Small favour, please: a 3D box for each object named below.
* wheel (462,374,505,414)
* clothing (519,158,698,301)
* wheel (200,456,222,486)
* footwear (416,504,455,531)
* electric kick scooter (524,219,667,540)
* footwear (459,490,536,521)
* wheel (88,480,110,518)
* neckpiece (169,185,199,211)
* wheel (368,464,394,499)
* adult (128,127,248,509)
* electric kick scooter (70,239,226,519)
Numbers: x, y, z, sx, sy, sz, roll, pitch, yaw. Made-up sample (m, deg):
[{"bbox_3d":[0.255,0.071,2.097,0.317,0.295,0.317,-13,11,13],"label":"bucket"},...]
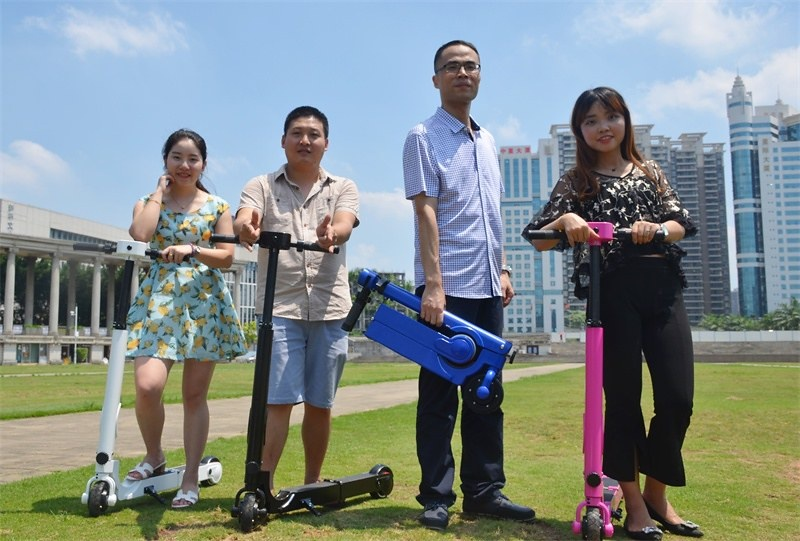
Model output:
[{"bbox_3d":[0.694,1.023,6.473,0.340,0.350,0.182,-2,-2,4],"label":"wheel"},{"bbox_3d":[1.904,-0.459,6.853,1.403,1.337,0.823,-3,-7,9],"label":"clothing"},{"bbox_3d":[-1.798,1.909,7.397,0.196,0.254,0.123,13,-11,-12],"label":"wheel"},{"bbox_3d":[0.284,2.022,6.378,0.234,0.170,0.164,-2,-2,0],"label":"footwear"},{"bbox_3d":[1.605,0.876,6.384,0.669,2.567,0.670,-3,-3,28],"label":"electric kick scooter"},{"bbox_3d":[0.849,2.030,6.713,0.656,0.252,0.218,0,-15,11],"label":"footwear"},{"bbox_3d":[-2.503,1.896,6.457,0.139,0.223,0.197,4,40,-6],"label":"wheel"},{"bbox_3d":[-2.036,-0.671,7.276,0.209,0.245,0.149,4,-18,-19],"label":"neckpiece"},{"bbox_3d":[-0.169,1.956,7.157,0.241,0.258,0.132,13,-14,-43],"label":"wheel"},{"bbox_3d":[-1.987,0.425,7.144,1.205,3.305,1.067,2,-6,-36],"label":"adult"},{"bbox_3d":[-2.383,0.897,6.702,0.717,2.299,0.746,-1,-3,-19],"label":"electric kick scooter"}]
